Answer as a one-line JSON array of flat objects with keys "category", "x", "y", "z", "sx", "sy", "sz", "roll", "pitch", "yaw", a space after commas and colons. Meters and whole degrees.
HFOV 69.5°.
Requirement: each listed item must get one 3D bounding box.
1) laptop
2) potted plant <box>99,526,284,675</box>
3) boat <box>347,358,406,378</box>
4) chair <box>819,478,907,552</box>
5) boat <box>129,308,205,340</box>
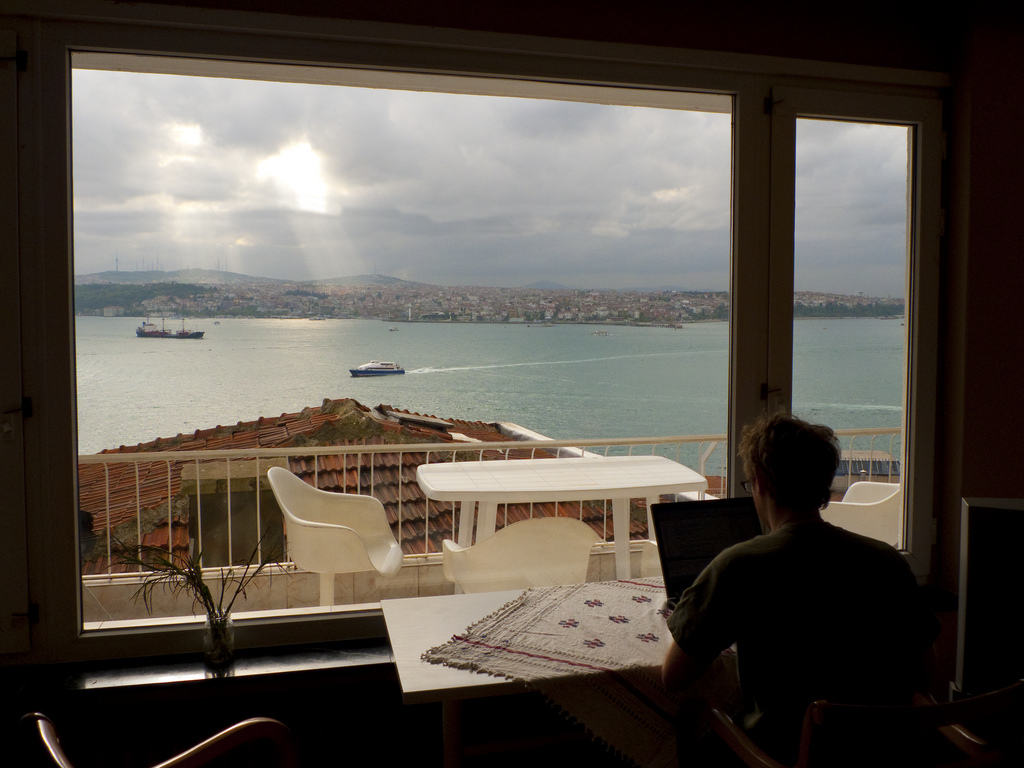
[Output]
[{"category": "laptop", "x": 0.649, "y": 0.491, "z": 2.486, "sx": 0.439, "sy": 0.324, "sz": 0.316, "roll": -3, "pitch": -2, "yaw": -10}, {"category": "potted plant", "x": -1.098, "y": 0.742, "z": 2.650, "sx": 0.397, "sy": 0.390, "sz": 0.627, "roll": -20, "pitch": -9, "yaw": 6}, {"category": "boat", "x": -4.462, "y": -0.488, "z": 24.832, "sx": 2.167, "sy": 0.618, "sz": 0.534, "roll": 0, "pitch": 5, "yaw": -35}, {"category": "chair", "x": 1.570, "y": 0.549, "z": 3.337, "sx": 0.356, "sy": 0.249, "sz": 0.412, "roll": 2, "pitch": 0, "yaw": 16}, {"category": "boat", "x": -8.271, "y": -1.336, "z": 17.558, "sx": 2.056, "sy": 0.836, "sz": 0.638, "roll": -3, "pitch": 21, "yaw": -20}]
